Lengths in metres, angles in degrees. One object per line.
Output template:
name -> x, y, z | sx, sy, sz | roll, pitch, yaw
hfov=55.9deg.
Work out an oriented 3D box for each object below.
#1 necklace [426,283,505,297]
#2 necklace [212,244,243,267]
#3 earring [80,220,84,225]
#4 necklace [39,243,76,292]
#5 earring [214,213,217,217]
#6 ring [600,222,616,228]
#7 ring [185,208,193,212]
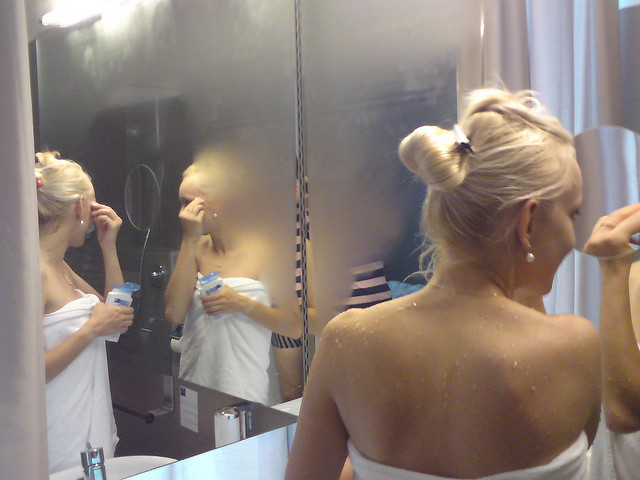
necklace -> 0.254, 0.086, 1.043 | 0.128, 0.023, 0.026 | -5, 1, 1
necklace -> -0.233, 0.039, 1.497 | 0.012, 0.053, 0.078 | -4, 1, 39
earring -> -0.504, -0.037, 1.277 | 0.009, 0.009, 0.002 | 3, -1, -23
necklace -> -0.542, 0.059, 1.253 | 0.056, 0.106, 0.010 | -6, 1, -25
earring -> -0.255, -0.058, 1.468 | 0.006, 0.006, 0.001 | -15, 24, -21
ring -> 0.656, -0.035, 1.375 | 0.036, 0.009, 0.013 | 13, 10, 27
ring -> -0.311, -0.071, 1.422 | 0.006, 0.002, 0.008 | -14, 40, -29
